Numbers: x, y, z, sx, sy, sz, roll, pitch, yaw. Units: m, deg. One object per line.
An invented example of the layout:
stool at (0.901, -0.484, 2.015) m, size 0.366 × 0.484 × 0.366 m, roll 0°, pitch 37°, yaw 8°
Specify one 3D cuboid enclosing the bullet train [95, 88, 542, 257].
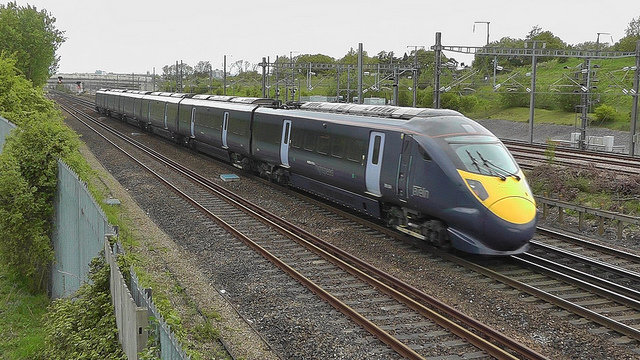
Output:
bullet train at (-12.706, -5.006, 36.128) m, size 2.936 × 7.483 × 61.821 m, roll -9°, pitch 14°, yaw -38°
